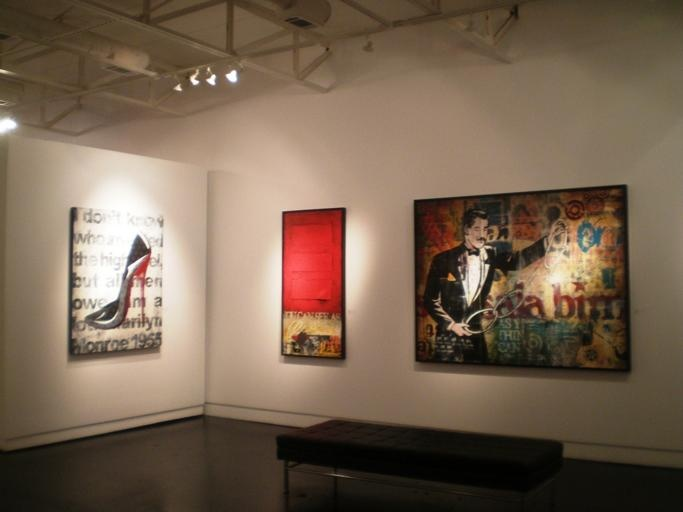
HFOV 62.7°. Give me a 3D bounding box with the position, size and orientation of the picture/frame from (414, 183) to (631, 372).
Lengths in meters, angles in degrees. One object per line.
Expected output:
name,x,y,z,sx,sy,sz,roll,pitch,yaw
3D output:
picture/frame,2.362,0.285,7.016,2.296,1.981,0.043,-1,0,27

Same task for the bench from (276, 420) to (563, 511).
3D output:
bench,0.786,2.188,5.614,2.693,0.705,0.900,0,2,16

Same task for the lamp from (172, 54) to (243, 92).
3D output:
lamp,-1.971,-2.544,7.987,1.341,0.439,0.293,7,0,32
